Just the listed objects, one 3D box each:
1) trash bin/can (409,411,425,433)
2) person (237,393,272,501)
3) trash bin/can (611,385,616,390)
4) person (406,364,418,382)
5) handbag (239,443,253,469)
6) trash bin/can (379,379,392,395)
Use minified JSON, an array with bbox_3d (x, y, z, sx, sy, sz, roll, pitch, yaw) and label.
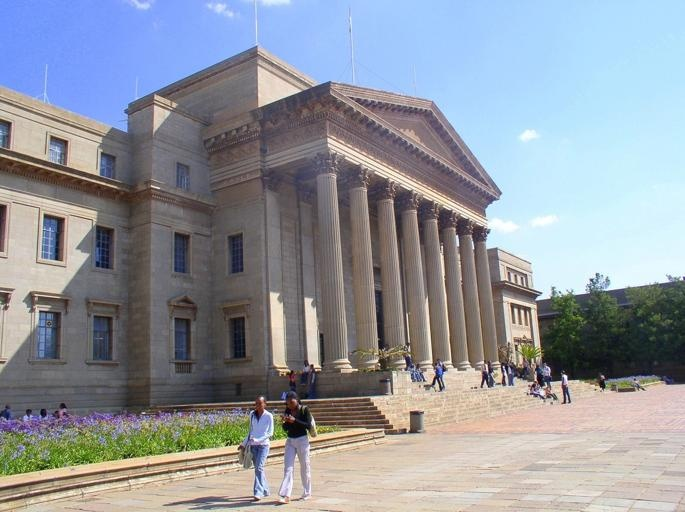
[{"bbox_3d":[3.412,7.682,25.100,0.833,0.980,0.851,4,-10,-21],"label":"trash bin/can"},{"bbox_3d":[-2.057,4.569,12.808,0.782,2.299,0.699,0,-17,-19],"label":"person"},{"bbox_3d":[28.849,13.963,57.114,0.494,0.736,0.514,-3,-6,23],"label":"trash bin/can"},{"bbox_3d":[4.572,7.713,35.496,0.636,1.153,1.913,-7,-17,6],"label":"person"},{"bbox_3d":[-2.291,4.713,12.698,0.294,0.505,0.186,-3,-16,-10],"label":"handbag"},{"bbox_3d":[2.481,7.100,29.222,0.709,0.804,0.733,7,-14,-33],"label":"trash bin/can"}]
